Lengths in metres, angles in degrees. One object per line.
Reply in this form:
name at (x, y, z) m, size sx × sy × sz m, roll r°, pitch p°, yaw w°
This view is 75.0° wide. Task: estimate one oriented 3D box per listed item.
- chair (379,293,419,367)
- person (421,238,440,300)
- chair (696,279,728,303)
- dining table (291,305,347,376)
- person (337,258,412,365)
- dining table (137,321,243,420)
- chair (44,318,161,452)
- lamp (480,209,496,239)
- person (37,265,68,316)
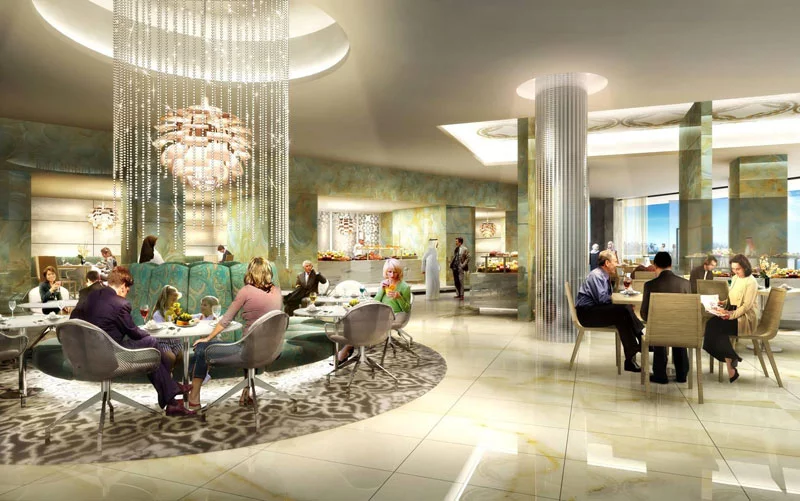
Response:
chair at (-0.009, 1.424, 9.063) m, size 0.860 × 0.989 × 0.798 m, roll 2°, pitch -4°, yaw -18°
person at (0.877, 0.618, 15.159) m, size 0.422 × 1.478 × 0.638 m, roll -2°, pitch 15°, yaw -5°
chair at (5.039, 0.623, 8.592) m, size 0.453 × 0.340 × 0.486 m, roll 2°, pitch 1°, yaw -6°
dining table at (-1.098, 1.297, 7.808) m, size 1.077 × 0.612 × 1.022 m, roll 1°, pitch 0°, yaw 9°
person at (-0.361, 0.614, 8.437) m, size 0.915 × 0.865 × 1.889 m, roll 6°, pitch -4°, yaw 9°
dining table at (-2.760, 1.495, 6.684) m, size 1.261 × 1.091 × 1.216 m, roll 1°, pitch -1°, yaw 17°
chair at (-3.614, 1.462, 6.167) m, size 1.223 × 1.429 × 0.752 m, roll 1°, pitch 15°, yaw 5°
lamp at (3.428, -0.974, 20.454) m, size 0.811 × 0.958 × 0.362 m, roll 0°, pitch 15°, yaw 2°
person at (-5.987, 0.748, 9.064) m, size 0.428 × 0.896 × 0.492 m, roll -13°, pitch 13°, yaw -27°
